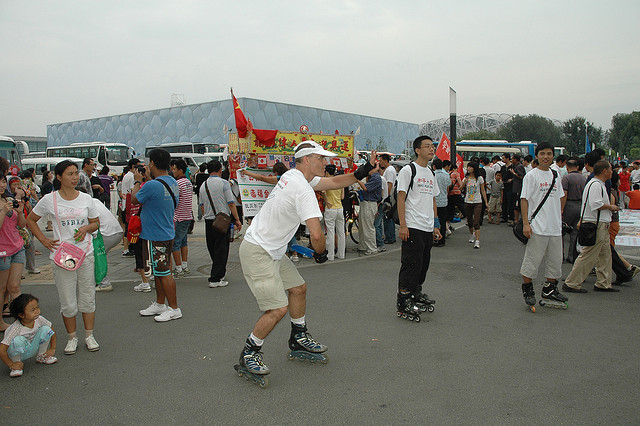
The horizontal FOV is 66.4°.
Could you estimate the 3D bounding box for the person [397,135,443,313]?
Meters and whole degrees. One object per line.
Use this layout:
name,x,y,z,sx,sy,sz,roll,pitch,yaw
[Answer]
person,1.301,0.221,7.594,0.707,2.564,1.043,2,1,6

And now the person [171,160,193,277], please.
person,-2.950,0.076,9.822,0.661,2.270,0.603,2,3,5

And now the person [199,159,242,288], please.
person,-1.734,0.209,9.241,0.802,2.420,0.873,2,-1,-34

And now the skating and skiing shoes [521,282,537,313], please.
skating and skiing shoes,3.317,1.268,7.714,0.159,0.310,0.479,-4,6,16

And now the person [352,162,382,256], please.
person,1.183,-0.059,12.069,0.609,2.127,0.651,0,0,13
